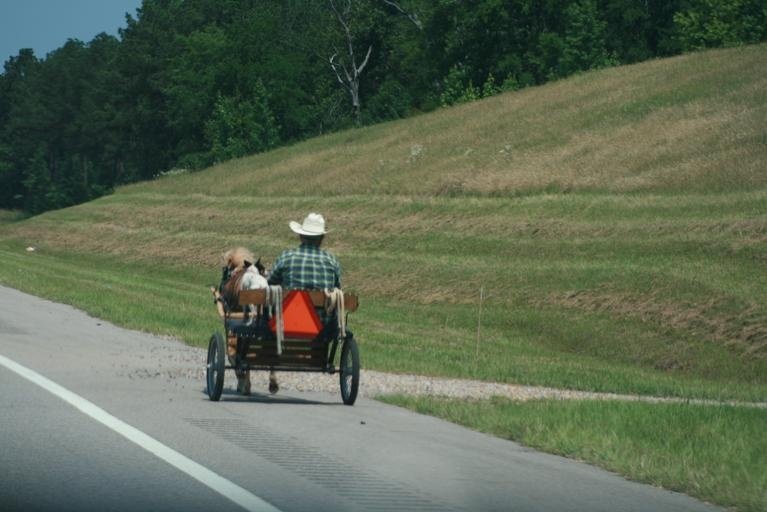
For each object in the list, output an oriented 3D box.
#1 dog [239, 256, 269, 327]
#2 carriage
[{"bbox_3d":[-6.229,1.759,68.250,1.215,3.030,1.898,1,2,-15],"label":"dog"},{"bbox_3d":[-5.290,3.305,71.086,4.869,5.283,8.473,2,2,-11],"label":"carriage"}]
